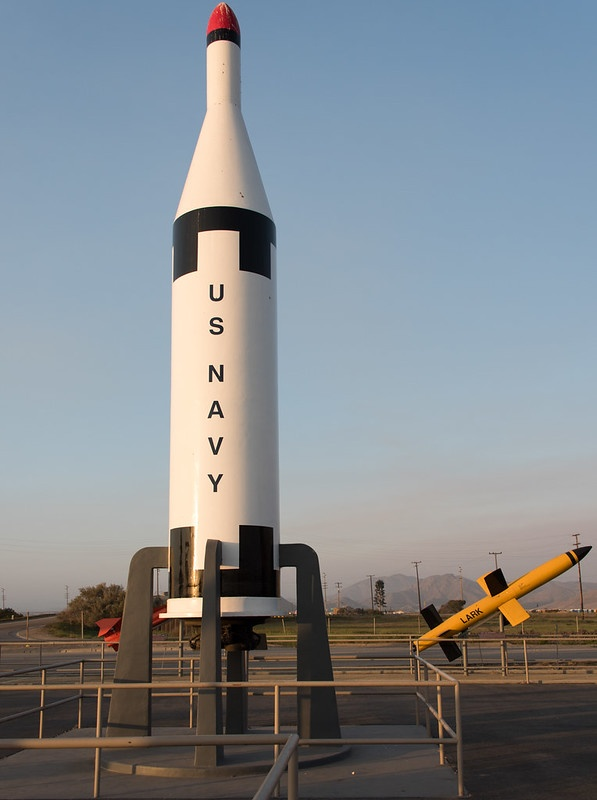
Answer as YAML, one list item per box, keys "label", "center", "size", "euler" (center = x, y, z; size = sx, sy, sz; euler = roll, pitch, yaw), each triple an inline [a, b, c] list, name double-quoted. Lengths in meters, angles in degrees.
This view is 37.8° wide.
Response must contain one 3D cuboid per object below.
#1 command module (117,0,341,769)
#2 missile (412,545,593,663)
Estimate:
- label: "command module"
  center: [-0.999, -0.765, 11.061]
  size: [2.324, 10.022, 1.461]
  euler: [-3, -14, -4]
- label: "missile"
  center: [4.363, 4.670, 19.379]
  size: [3.459, 2.239, 3.301]
  euler: [-5, -13, 4]
